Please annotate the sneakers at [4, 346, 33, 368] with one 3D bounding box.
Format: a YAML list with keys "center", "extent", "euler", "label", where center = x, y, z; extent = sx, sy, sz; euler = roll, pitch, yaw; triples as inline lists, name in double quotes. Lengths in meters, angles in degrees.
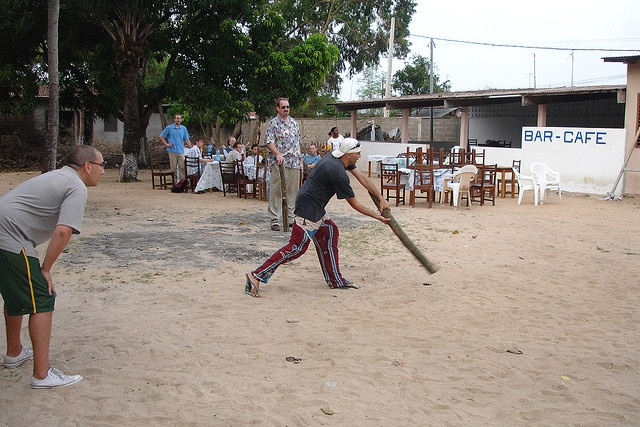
- center: [-3.373, 1.587, 6.745]
  extent: [0.158, 0.177, 0.410]
  euler: [4, 9, 33]
  label: "sneakers"

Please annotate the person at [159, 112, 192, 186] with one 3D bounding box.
- center: [-4.280, -1.907, 17.570]
  extent: [0.820, 2.035, 1.149]
  euler: [-1, 8, -13]
  label: "person"

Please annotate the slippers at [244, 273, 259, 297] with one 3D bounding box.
- center: [-0.978, 1.041, 8.501]
  extent: [0.140, 0.394, 0.127]
  euler: [-8, 0, 4]
  label: "slippers"

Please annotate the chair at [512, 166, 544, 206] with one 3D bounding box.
- center: [5.798, -0.914, 16.837]
  extent: [0.621, 0.819, 0.577]
  euler: [-17, -1, -12]
  label: "chair"

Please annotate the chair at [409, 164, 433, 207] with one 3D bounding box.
- center: [2.734, -0.786, 15.689]
  extent: [0.718, 1.107, 0.802]
  euler: [0, 13, -5]
  label: "chair"

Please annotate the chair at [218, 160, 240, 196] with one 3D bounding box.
- center: [-2.636, -1.037, 17.201]
  extent: [0.757, 1.005, 0.774]
  euler: [4, 8, 32]
  label: "chair"

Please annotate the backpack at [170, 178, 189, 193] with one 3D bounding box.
- center: [-4.143, -0.803, 17.552]
  extent: [0.304, 0.216, 0.506]
  euler: [-4, 13, 22]
  label: "backpack"

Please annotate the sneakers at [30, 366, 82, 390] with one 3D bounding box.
- center: [-2.884, 1.780, 6.480]
  extent: [0.528, 0.216, 0.196]
  euler: [1, 4, -17]
  label: "sneakers"

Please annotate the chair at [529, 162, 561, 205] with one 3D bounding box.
- center: [6.247, -0.877, 16.406]
  extent: [0.778, 1.031, 0.784]
  euler: [-2, 3, -26]
  label: "chair"

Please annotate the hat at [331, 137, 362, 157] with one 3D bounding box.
- center: [0.377, -0.938, 8.358]
  extent: [0.349, 0.202, 0.236]
  euler: [-23, 26, -19]
  label: "hat"

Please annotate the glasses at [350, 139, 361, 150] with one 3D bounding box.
- center: [0.514, -0.953, 8.352]
  extent: [0.073, 0.141, 0.101]
  euler: [10, 11, -40]
  label: "glasses"

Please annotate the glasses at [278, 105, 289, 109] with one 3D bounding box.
- center: [-0.693, -1.993, 11.252]
  extent: [0.192, 0.060, 0.182]
  euler: [0, 7, -11]
  label: "glasses"

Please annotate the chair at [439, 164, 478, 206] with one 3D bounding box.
- center: [3.568, -0.709, 15.333]
  extent: [0.849, 1.124, 1.141]
  euler: [3, 8, 11]
  label: "chair"

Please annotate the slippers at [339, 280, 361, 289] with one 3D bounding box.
- center: [0.439, 1.043, 8.801]
  extent: [0.260, 0.079, 0.127]
  euler: [-1, 4, -25]
  label: "slippers"
